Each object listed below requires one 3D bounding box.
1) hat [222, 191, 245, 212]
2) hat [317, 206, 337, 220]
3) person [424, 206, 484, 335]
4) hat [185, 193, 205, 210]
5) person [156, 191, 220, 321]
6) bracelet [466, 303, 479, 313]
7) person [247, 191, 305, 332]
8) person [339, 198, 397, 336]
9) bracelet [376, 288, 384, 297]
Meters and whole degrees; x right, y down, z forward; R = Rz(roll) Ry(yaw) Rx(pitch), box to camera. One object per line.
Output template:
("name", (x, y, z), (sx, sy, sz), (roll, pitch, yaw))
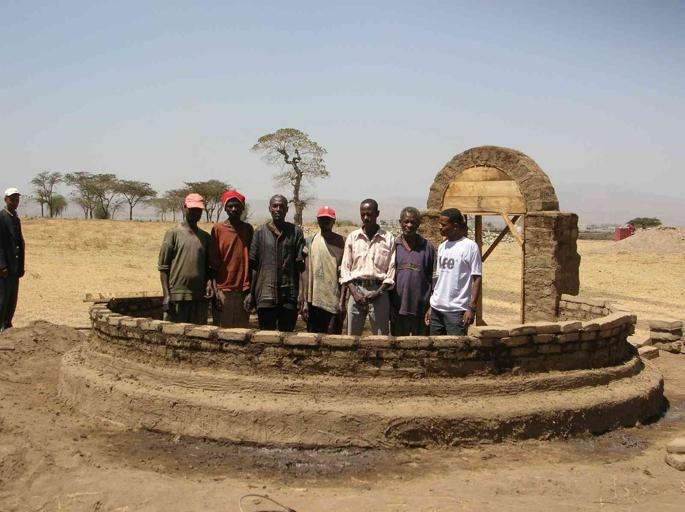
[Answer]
("hat", (-1.362, -0.721, 7.913), (0.270, 0.209, 0.374), (0, 6, -11))
("hat", (-0.191, -0.534, 7.718), (0.186, 0.162, 0.217), (3, 6, 10))
("person", (1.311, 0.200, 7.342), (0.578, 1.505, 0.684), (2, 8, 4))
("hat", (-1.896, -0.702, 8.104), (0.216, 0.120, 0.273), (2, 0, -20))
("person", (-1.967, 0.052, 7.982), (0.659, 1.668, 0.483), (0, 8, -15))
("bracelet", (1.507, 0.595, 7.230), (0.149, 0.079, 0.160), (4, -9, -18))
("person", (-0.798, 0.109, 7.727), (0.678, 1.694, 0.544), (1, 8, -8))
("person", (0.315, 0.155, 7.629), (0.678, 1.670, 0.602), (2, 8, -2))
("bracelet", (0.450, 0.429, 7.505), (0.030, 0.109, 0.086), (46, 2, -18))
